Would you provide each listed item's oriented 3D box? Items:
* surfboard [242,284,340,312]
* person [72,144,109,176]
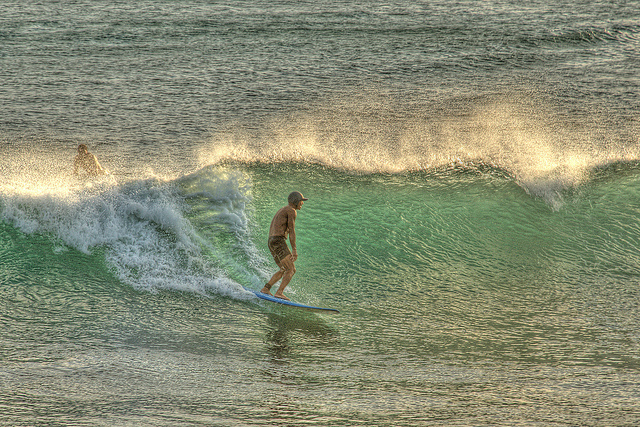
[{"bbox_3d":[-0.993,2.667,32.275,3.228,0.392,0.201,9,61,18],"label":"surfboard"},{"bbox_3d":[-8.278,-1.843,36.466,1.375,0.369,0.995,-4,104,-19],"label":"person"}]
